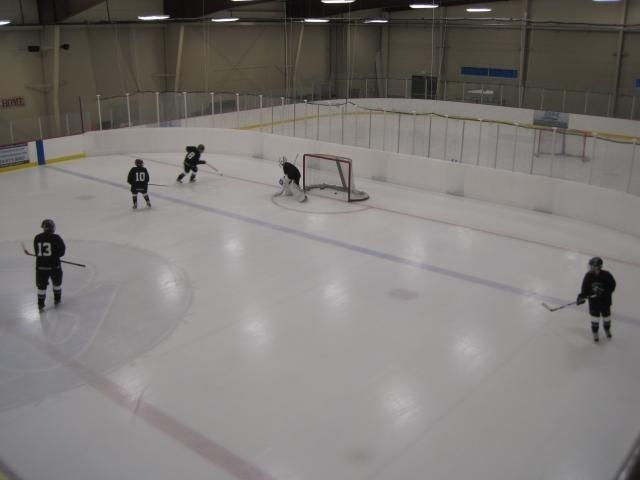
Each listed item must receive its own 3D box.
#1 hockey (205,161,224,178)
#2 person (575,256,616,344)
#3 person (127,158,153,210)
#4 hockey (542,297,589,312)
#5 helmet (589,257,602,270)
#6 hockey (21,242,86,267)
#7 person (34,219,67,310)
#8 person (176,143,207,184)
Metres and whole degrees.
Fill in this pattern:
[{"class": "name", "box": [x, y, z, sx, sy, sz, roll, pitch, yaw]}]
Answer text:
[{"class": "hockey", "box": [-4.327, -2.850, 18.928, 0.193, 0.218, 1.468, 8, 27, -39]}, {"class": "person", "box": [5.009, 0.976, 8.375, 0.615, 1.522, 0.842, 12, 21, 34]}, {"class": "person", "box": [-5.807, -1.887, 14.927, 0.614, 1.569, 1.817, -7, 19, -20]}, {"class": "hockey", "box": [4.927, 1.321, 9.414, 1.418, 0.210, 0.299, -2, 17, -30]}, {"class": "helmet", "box": [4.767, 0.405, 8.083, 0.169, 0.254, 0.289, 12, 21, 35]}, {"class": "hockey", "box": [-5.867, 0.326, 10.232, 1.428, 0.459, 0.150, 12, -30, -19]}, {"class": "person", "box": [-5.456, 0.442, 9.327, 0.629, 1.743, 0.788, -12, 20, -33]}, {"class": "person", "box": [-4.744, -2.888, 17.278, 0.944, 1.425, 0.661, -3, 37, -43]}]
